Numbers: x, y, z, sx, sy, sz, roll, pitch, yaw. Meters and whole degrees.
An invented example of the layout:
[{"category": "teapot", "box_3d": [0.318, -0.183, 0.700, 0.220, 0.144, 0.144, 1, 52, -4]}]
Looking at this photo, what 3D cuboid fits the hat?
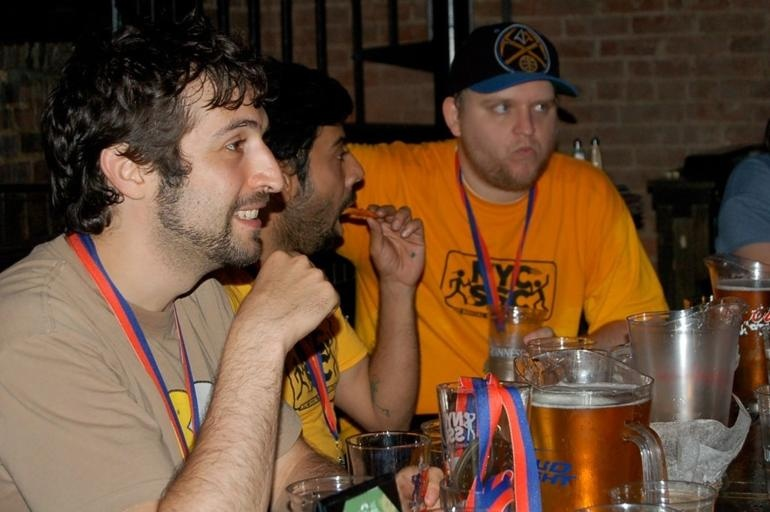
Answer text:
[{"category": "hat", "box_3d": [0.508, -0.757, 2.961, 0.336, 0.270, 0.520, -3, -1, 9]}]
